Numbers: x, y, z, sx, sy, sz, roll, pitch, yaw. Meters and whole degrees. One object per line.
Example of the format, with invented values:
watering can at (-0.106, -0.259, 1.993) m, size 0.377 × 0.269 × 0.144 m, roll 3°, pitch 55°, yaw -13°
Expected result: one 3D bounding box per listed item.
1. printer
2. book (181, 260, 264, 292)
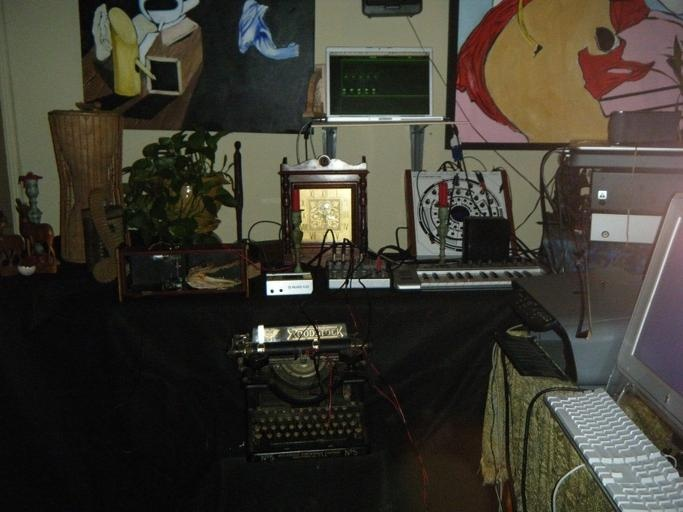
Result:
printer at (0.802, 0.138, 2.142) m, size 0.358 × 0.264 × 0.418 m, roll -13°, pitch 23°, yaw 15°
book at (-0.478, 0.091, 2.425) m, size 0.198 × 0.053 × 0.131 m, roll -1°, pitch 37°, yaw -12°
